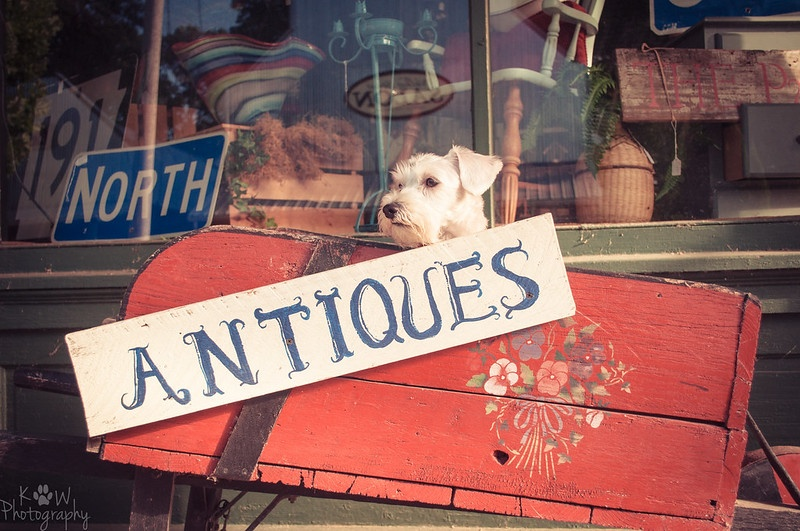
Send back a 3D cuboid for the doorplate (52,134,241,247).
[{"bbox_3d":[-2.100,-0.579,10.705,1.651,0.873,0.012,-4,-25,27],"label":"doorplate"}]
